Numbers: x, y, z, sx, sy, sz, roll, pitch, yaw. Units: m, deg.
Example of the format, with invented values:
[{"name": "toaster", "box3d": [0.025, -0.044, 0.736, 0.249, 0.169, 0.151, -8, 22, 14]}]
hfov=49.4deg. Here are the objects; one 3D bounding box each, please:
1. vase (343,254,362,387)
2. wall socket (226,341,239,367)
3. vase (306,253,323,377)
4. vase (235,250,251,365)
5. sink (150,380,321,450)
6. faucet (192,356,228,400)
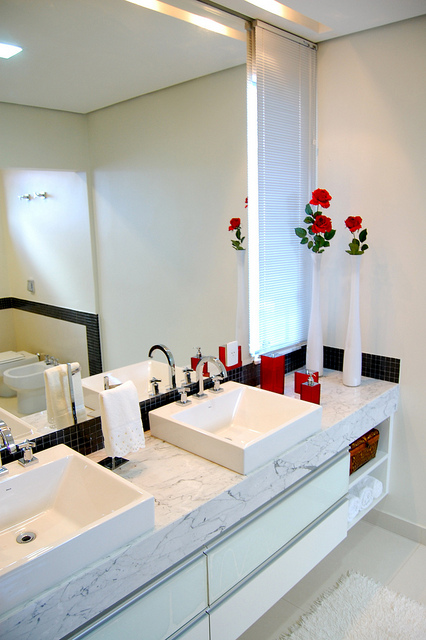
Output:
[{"name": "vase", "box3d": [0.736, -0.001, 2.442, 0.093, 0.684, 0.171, -1, 7, 18]}, {"name": "wall socket", "box3d": [0.091, 0.158, 2.208, 0.017, 0.137, 0.098, 14, 19, 41]}, {"name": "vase", "box3d": [0.546, -0.014, 2.504, 0.087, 0.686, 0.178, -1, 6, 11]}, {"name": "vase", "box3d": [0.155, -0.060, 2.263, 0.042, 0.560, 0.115, 2, 8, 38]}, {"name": "sink", "box3d": [0.087, 0.400, 1.809, 0.491, 0.187, 0.508, 3, 9, 43]}, {"name": "faucet", "box3d": [-0.015, 0.240, 1.912, 0.152, 0.183, 0.056, 1, 13, 21]}]
